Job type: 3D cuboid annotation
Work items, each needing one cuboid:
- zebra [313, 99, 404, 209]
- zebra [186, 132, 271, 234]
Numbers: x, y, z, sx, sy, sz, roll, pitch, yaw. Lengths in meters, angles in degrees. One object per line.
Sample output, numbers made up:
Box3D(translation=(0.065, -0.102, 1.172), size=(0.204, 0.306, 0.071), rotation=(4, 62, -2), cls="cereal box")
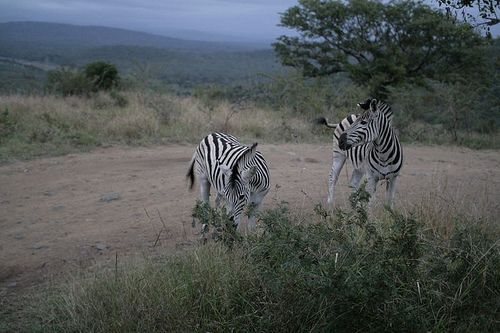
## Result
Box3D(translation=(2.366, -0.195, 8.164), size=(1.291, 2.353, 1.792), rotation=(3, 12, 3), cls="zebra")
Box3D(translation=(-0.357, 0.351, 7.605), size=(1.195, 1.890, 2.482), rotation=(0, 12, -11), cls="zebra")
